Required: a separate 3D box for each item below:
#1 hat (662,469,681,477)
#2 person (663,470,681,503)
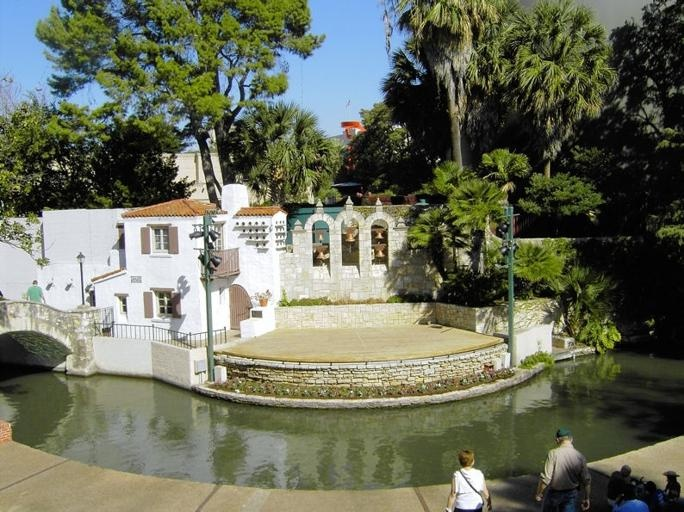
[{"bbox_3d":[10.985,7.262,25.900,0.569,0.219,0.611,1,-6,0],"label":"hat"},{"bbox_3d":[10.564,7.418,24.886,0.457,1.060,0.550,-2,0,20],"label":"person"}]
